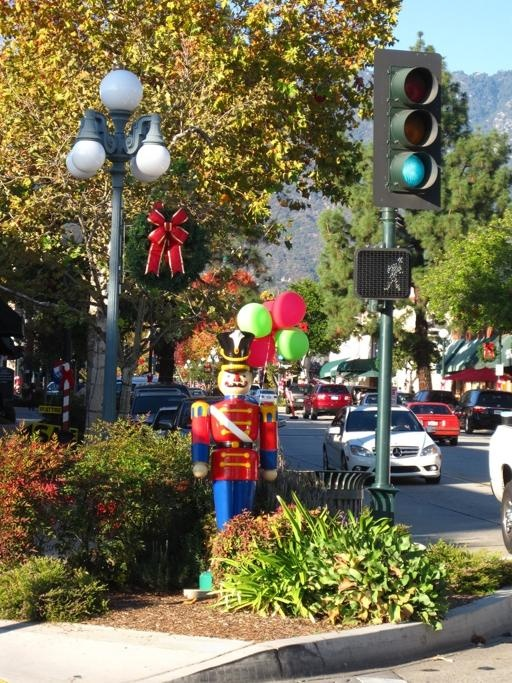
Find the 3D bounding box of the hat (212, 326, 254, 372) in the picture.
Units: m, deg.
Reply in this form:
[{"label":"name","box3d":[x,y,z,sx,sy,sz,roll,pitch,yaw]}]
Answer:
[{"label":"hat","box3d":[-0.195,0.077,11.166,0.329,0.351,0.331,1,-8,-5]}]

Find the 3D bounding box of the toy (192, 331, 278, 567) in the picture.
[{"label":"toy","box3d":[-0.177,0.853,10.931,0.727,1.794,0.374,2,-6,-11]}]

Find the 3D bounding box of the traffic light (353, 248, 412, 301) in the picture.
[{"label":"traffic light","box3d":[0.946,-0.503,9.475,0.381,0.371,0.149,0,-3,3]}]

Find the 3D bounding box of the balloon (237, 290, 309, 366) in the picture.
[{"label":"balloon","box3d":[0.093,-0.089,11.626,0.694,0.737,0.546,-3,-4,-25]}]

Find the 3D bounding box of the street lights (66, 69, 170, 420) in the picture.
[{"label":"street lights","box3d":[-1.277,-1.150,12.370,0.639,3.740,0.861,-1,3,-25]}]

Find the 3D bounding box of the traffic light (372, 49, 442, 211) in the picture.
[{"label":"traffic light","box3d":[1.122,-1.609,9.478,0.408,1.346,0.357,0,2,-7]}]
